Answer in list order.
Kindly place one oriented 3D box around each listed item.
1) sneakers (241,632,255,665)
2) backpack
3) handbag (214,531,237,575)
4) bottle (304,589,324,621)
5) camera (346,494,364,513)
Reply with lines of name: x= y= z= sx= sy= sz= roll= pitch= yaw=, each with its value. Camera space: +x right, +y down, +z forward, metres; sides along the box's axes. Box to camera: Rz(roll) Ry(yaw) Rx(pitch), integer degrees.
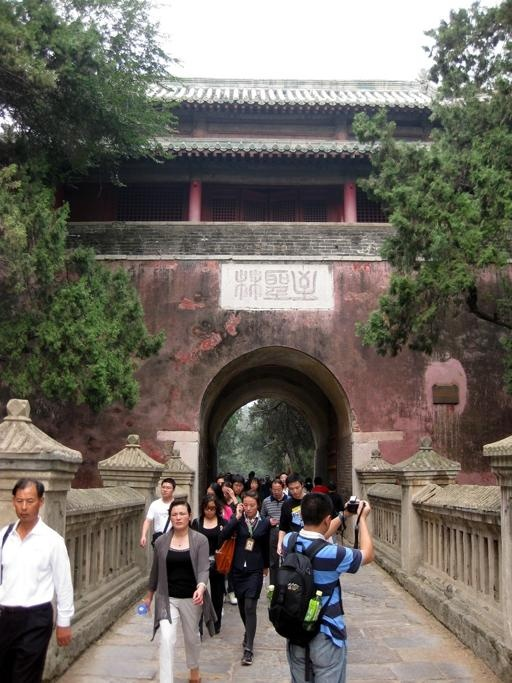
sneakers: x=-0.072 y=2.600 z=5.704 sx=0.076 sy=0.110 sz=0.254 roll=-3 pitch=22 yaw=7
backpack: x=0.215 y=1.218 z=3.249 sx=0.274 sy=0.523 sz=0.332 roll=-1 pitch=-6 yaw=12
handbag: x=-0.275 y=1.979 z=6.345 sx=0.204 sy=0.136 sz=0.464 roll=6 pitch=36 yaw=13
bottle: x=0.282 y=1.243 z=3.175 sx=0.059 sy=0.154 sz=0.146 roll=-3 pitch=-7 yaw=31
camera: x=0.505 y=0.850 z=3.538 sx=0.104 sy=0.105 sz=0.105 roll=3 pitch=-4 yaw=4
